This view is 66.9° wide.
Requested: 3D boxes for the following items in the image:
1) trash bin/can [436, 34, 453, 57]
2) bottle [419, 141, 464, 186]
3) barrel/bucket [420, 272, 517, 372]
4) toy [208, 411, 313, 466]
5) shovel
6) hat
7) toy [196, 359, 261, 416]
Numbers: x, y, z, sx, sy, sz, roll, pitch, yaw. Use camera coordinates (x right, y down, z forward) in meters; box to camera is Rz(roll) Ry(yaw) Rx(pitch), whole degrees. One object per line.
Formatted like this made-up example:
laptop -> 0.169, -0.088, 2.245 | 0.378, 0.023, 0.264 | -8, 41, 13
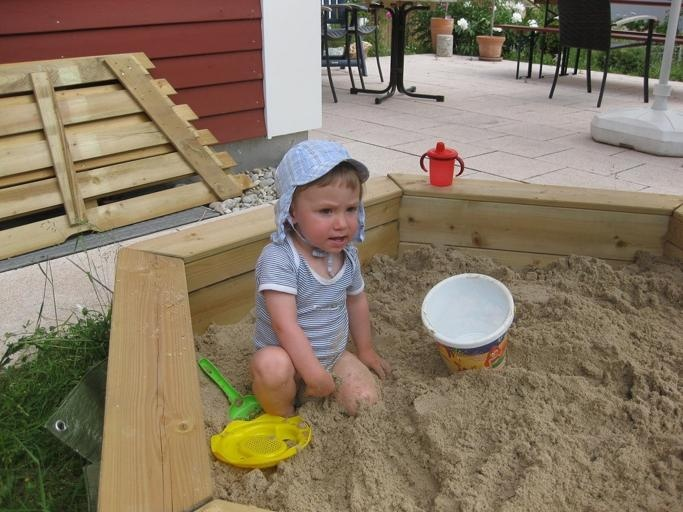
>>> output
trash bin/can -> 2.124, -4.562, 11.199 | 0.459, 0.503, 0.455 | 1, 26, 7
bottle -> 0.489, -0.457, 2.533 | 0.215, 0.200, 0.158 | 12, 26, 27
barrel/bucket -> 0.477, 0.272, 1.925 | 0.327, 0.249, 0.330 | -11, 40, 9
toy -> -0.260, 0.600, 1.688 | 0.210, 0.063, 0.154 | 1, 24, -4
shovel -> -0.393, 0.485, 1.861 | 0.126, 0.052, 0.301 | -28, 53, -29
hat -> -0.099, -0.241, 1.803 | 0.301, 0.336, 0.358 | -7, 12, -36
toy -> -0.398, 0.492, 1.855 | 0.118, 0.054, 0.309 | -28, 57, -29
